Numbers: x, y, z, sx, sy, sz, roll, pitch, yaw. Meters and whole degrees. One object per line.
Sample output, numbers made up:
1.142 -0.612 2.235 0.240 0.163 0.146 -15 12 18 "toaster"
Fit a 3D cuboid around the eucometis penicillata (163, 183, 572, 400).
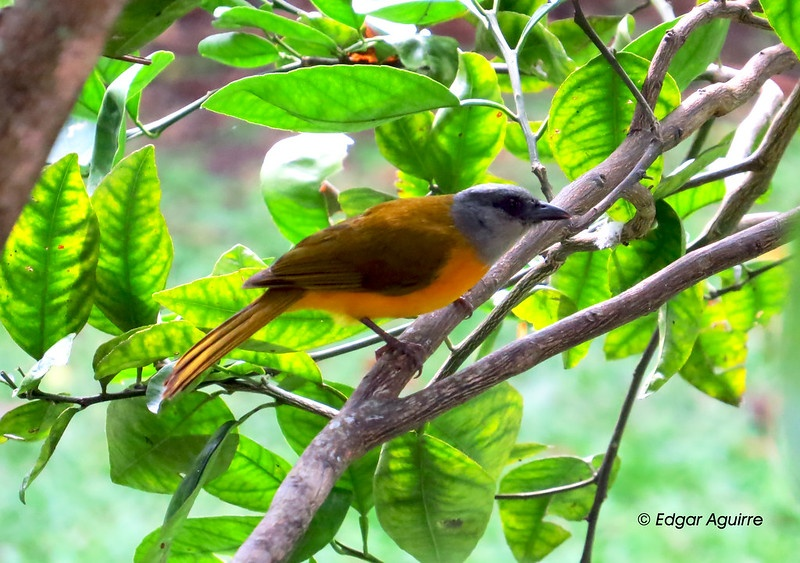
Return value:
-0.019 0.014 2.647 1.547 0.441 0.617 -4 -57 -4 "eucometis penicillata"
